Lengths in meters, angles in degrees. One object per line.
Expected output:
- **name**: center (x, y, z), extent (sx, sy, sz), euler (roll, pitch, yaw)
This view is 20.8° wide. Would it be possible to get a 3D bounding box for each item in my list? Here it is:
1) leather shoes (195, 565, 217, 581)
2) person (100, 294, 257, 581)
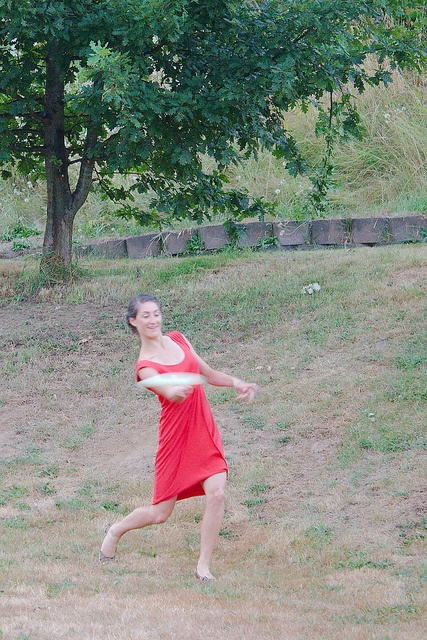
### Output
- **leather shoes**: center (-0.055, 1.573, 7.157), extent (0.130, 0.063, 0.113), euler (1, 4, 1)
- **person**: center (-0.213, 0.728, 7.226), extent (0.924, 1.751, 0.635), euler (1, 4, 2)
